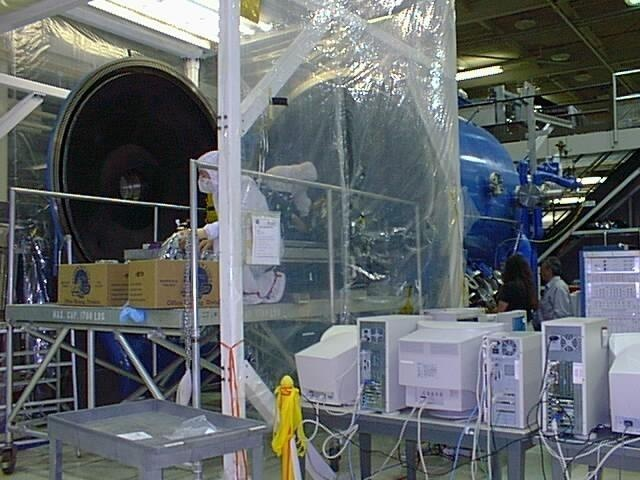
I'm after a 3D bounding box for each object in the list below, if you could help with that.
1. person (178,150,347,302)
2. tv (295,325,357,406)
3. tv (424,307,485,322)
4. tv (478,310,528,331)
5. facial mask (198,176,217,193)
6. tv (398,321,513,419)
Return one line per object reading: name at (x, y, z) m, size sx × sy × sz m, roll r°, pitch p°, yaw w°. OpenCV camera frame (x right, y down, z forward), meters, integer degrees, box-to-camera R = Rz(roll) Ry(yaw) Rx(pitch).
person at (-0.482, -0.105, 5.308) m, size 1.227 × 1.166 × 1.394 m, roll 1°, pitch -4°, yaw -4°
tv at (0.079, 0.866, 4.704) m, size 0.402 × 0.561 × 0.498 m, roll -4°, pitch -8°, yaw 36°
tv at (1.090, 0.611, 5.610) m, size 0.475 × 0.089 × 1.158 m, roll 0°, pitch -4°, yaw 11°
tv at (1.540, 0.659, 5.754) m, size 0.297 × 0.243 × 0.312 m, roll -2°, pitch -1°, yaw 31°
facial mask at (-0.854, -0.432, 5.324) m, size 0.119 × 0.075 × 0.124 m, roll 4°, pitch 1°, yaw 43°
tv at (0.849, 0.780, 4.447) m, size 0.546 × 0.528 × 0.550 m, roll 1°, pitch 2°, yaw 36°
